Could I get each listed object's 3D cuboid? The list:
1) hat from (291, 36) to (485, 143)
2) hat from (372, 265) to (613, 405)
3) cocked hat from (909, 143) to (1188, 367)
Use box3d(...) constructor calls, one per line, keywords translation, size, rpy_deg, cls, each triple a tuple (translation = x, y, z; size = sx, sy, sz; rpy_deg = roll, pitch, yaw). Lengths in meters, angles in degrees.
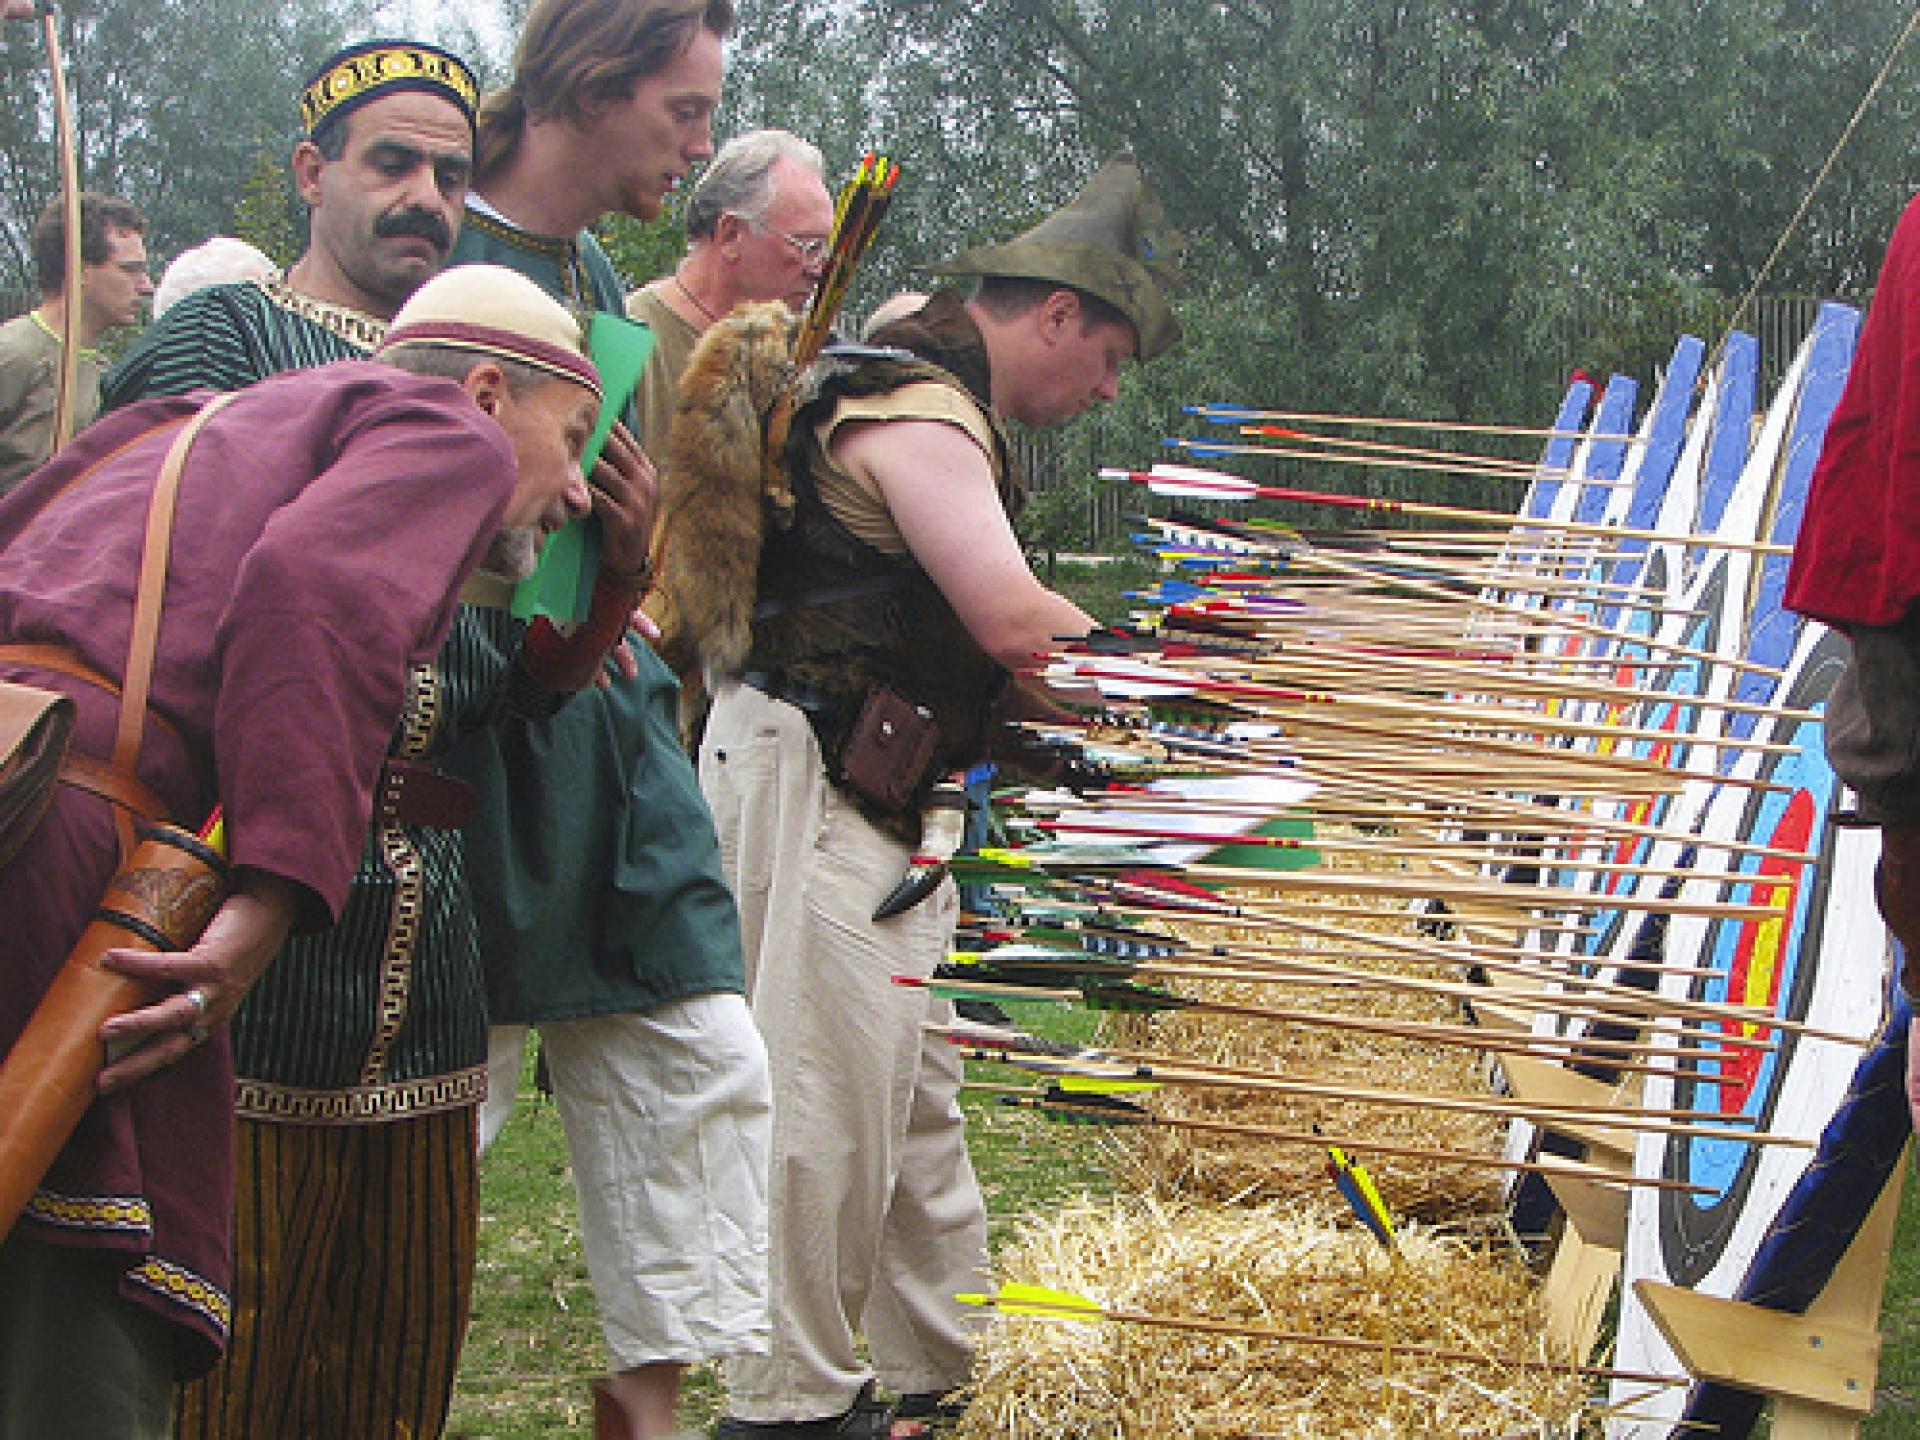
box3d(translation=(-0.933, -1.038, 3.925), size=(0.197, 0.082, 0.219), rpy_deg=(-22, -21, 15), cls="hat")
box3d(translation=(-0.679, -0.580, 3.471), size=(0.281, 0.159, 0.207), rpy_deg=(5, 16, -1), cls="hat")
box3d(translation=(0.293, -0.892, 4.558), size=(0.443, 0.381, 0.672), rpy_deg=(4, 4, 15), cls="cocked hat")
